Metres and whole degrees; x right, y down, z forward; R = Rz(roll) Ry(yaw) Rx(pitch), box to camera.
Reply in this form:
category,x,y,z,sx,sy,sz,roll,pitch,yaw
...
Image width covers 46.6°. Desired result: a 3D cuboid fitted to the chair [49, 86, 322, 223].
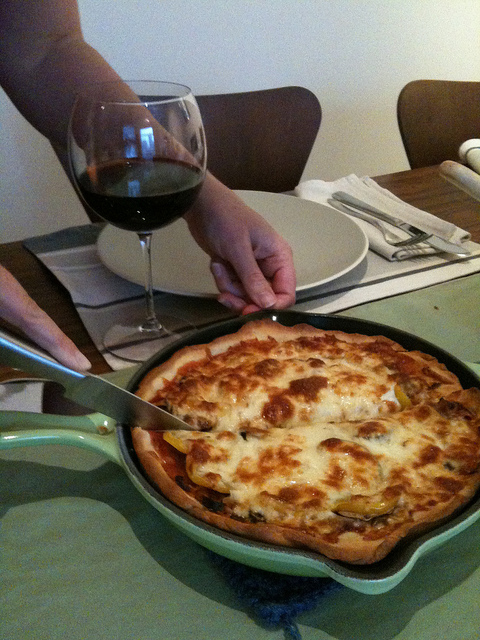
category,x,y,z,sx,sy,sz,roll,pitch,yaw
chair,-0.099,-0.635,2.128,1.048,0.534,0.779,-21,34,-33

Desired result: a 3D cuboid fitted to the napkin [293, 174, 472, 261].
category,x,y,z,sx,sy,sz,roll,pitch,yaw
napkin,0.302,-0.229,1.174,0.206,0.043,0.318,-19,38,-30

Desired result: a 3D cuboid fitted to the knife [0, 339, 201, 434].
category,x,y,z,sx,sy,sz,roll,pitch,yaw
knife,-0.139,0.069,0.554,0.185,0.023,0.013,25,21,-11

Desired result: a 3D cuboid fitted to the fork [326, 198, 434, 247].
category,x,y,z,sx,sy,sz,roll,pitch,yaw
fork,0.266,-0.194,1.103,0.221,0.037,0.037,34,89,22
